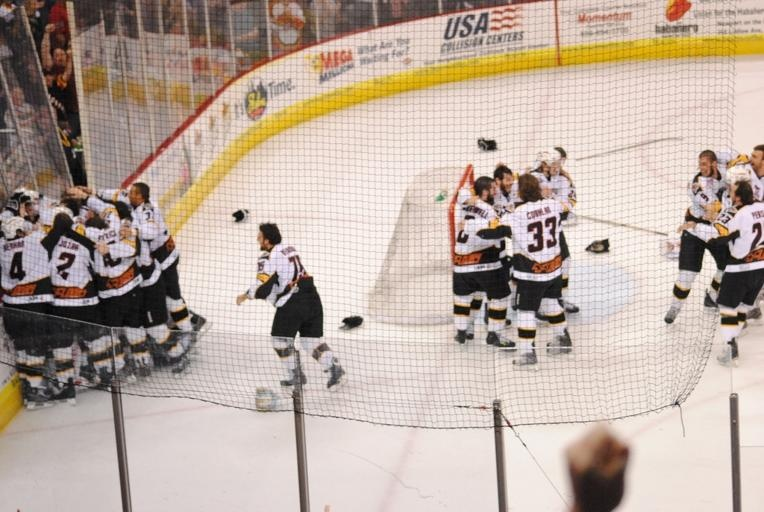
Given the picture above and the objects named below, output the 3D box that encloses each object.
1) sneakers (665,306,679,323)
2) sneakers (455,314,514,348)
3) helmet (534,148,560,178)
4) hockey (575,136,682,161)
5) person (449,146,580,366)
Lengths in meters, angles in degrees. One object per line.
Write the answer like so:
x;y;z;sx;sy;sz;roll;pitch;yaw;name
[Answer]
2.928;0.604;9.919;0.112;0.176;0.080;10;-17;26;sneakers
0.984;0.791;9.877;0.664;0.226;0.202;1;29;8;sneakers
1.750;-0.977;10.175;0.239;0.267;0.314;-6;12;-36;helmet
3.242;-1.387;12.719;1.108;0.054;0.118;-16;54;-25;hockey
1.400;0.086;9.591;0.935;1.746;1.396;2;25;10;person
